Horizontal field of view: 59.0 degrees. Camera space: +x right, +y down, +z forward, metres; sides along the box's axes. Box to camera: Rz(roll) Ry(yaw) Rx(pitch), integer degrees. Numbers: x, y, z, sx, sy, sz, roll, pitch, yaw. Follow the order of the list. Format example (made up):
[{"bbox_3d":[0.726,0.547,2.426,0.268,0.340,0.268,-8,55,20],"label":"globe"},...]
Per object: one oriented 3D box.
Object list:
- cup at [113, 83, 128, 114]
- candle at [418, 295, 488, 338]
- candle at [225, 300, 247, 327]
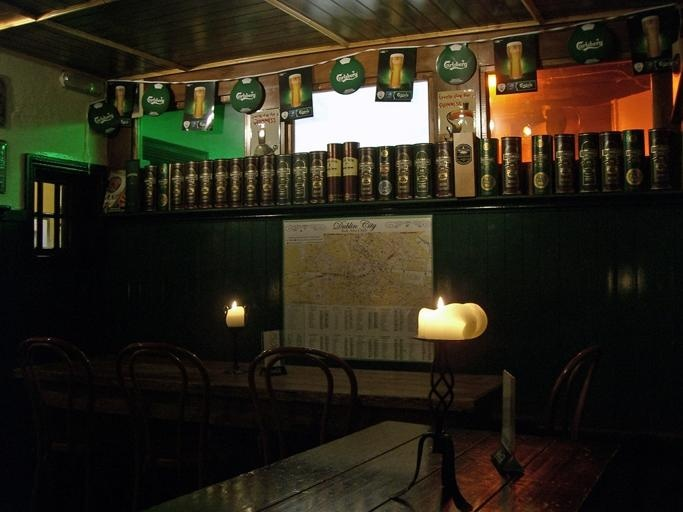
[{"bbox_3d":[-1.746,-1.215,4.739,0.106,0.252,0.069,0,2,26],"label":"cup"},{"bbox_3d":[0.387,0.219,2.078,0.185,0.106,0.170,1,-3,-28],"label":"candle"},{"bbox_3d":[-0.696,0.386,3.987,0.103,0.174,0.166,-1,2,-2],"label":"candle"}]
